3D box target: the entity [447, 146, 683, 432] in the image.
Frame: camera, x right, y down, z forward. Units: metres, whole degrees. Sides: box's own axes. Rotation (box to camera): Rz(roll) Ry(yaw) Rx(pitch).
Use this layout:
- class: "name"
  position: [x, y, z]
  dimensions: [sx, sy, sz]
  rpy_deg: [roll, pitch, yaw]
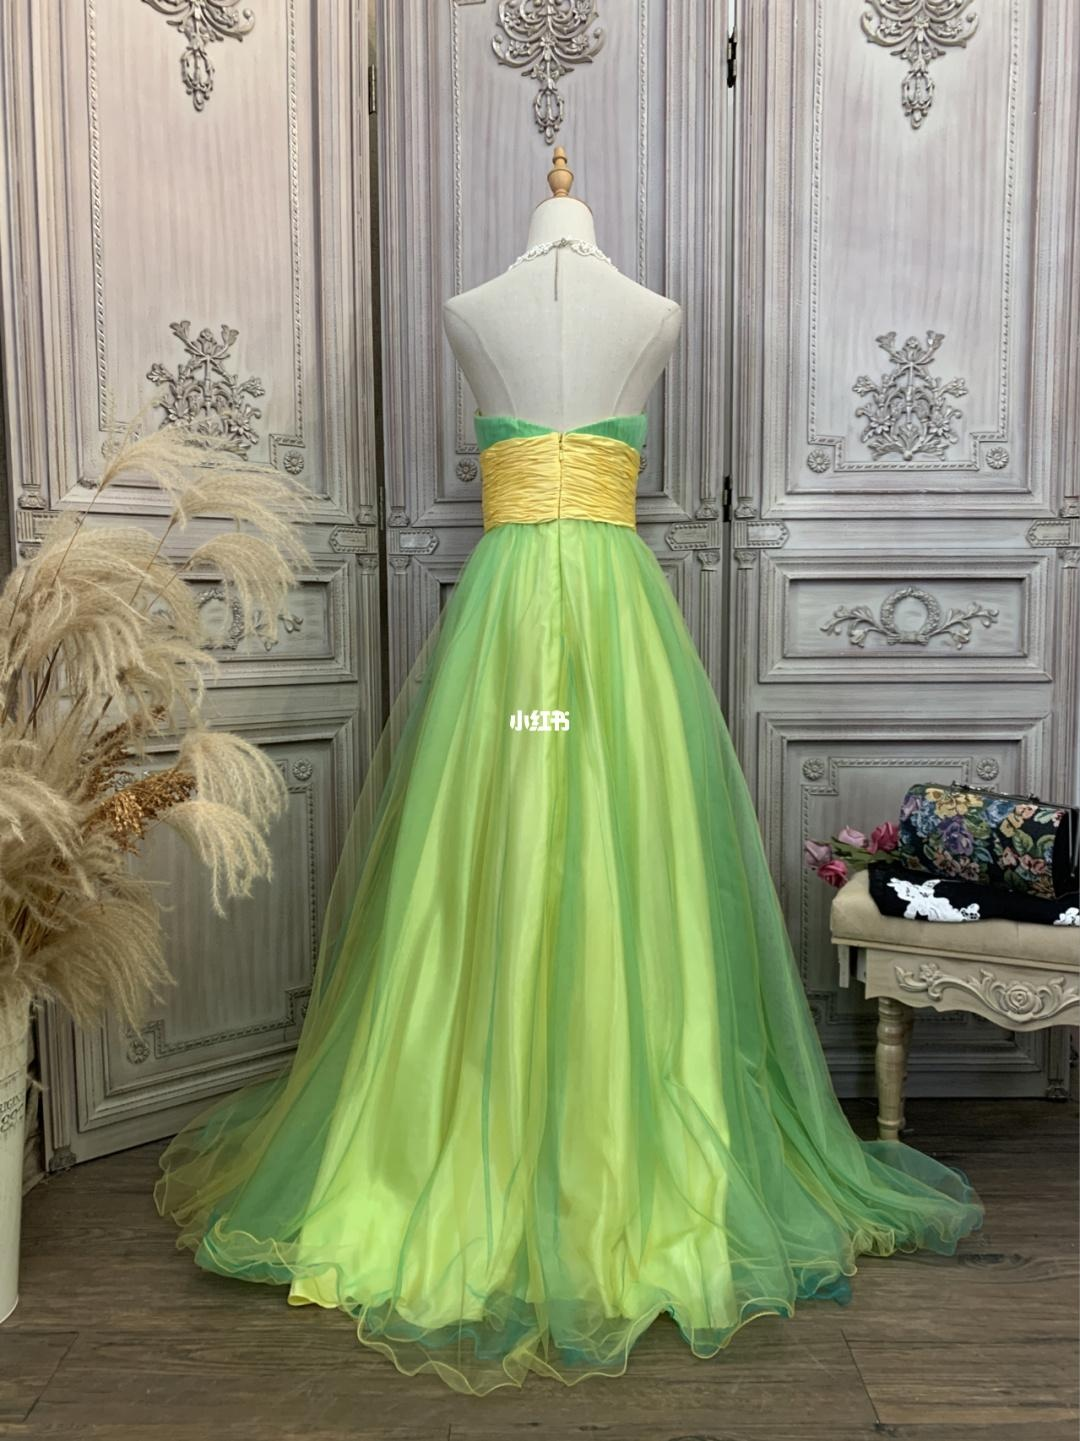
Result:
- class: "entity"
  position: [0.027, -0.606, 2.182]
  dimensions: [0.354, 0.716, 0.173]
  rpy_deg: [0, -20, -1]

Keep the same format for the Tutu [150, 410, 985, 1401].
- class: "Tutu"
  position: [-0.011, 0.183, 1.992]
  dimensions: [0.879, 1.234, 0.828]
  rpy_deg: [9, 14, 41]
